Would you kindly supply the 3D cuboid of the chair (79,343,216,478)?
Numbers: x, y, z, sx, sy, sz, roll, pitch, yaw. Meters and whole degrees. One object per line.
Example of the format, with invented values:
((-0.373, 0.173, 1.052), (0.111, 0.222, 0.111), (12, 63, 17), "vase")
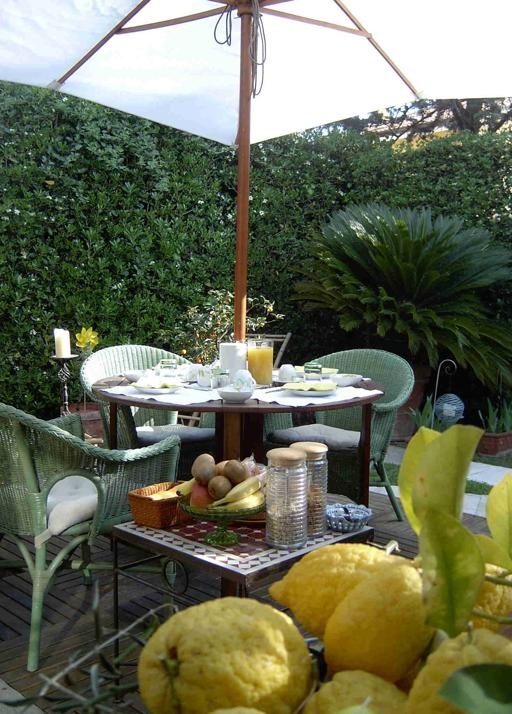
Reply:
((-0.508, 0.252, 3.076), (0.865, 0.868, 0.715), (-1, 0, -42), "chair")

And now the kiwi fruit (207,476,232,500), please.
((-0.071, 0.262, 1.068), (0.046, 0.047, 0.032), (-2, 11, -7), "kiwi fruit")

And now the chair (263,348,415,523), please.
((0.407, 0.381, 3.169), (0.966, 0.984, 0.857), (-2, 6, -43), "chair")

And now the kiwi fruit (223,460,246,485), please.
((-0.046, 0.242, 1.124), (0.052, 0.054, 0.047), (5, -22, -10), "kiwi fruit")

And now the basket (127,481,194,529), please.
((-0.202, 0.327, 1.201), (0.106, 0.053, 0.142), (5, 2, 35), "basket")

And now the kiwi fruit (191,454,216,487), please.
((-0.104, 0.230, 1.108), (0.062, 0.073, 0.059), (-1, -16, 5), "kiwi fruit")

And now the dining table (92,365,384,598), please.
((-0.013, 0.365, 2.261), (0.950, 0.688, 0.893), (3, 3, 42), "dining table")

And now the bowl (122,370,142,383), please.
((-0.524, 0.080, 2.300), (0.059, 0.029, 0.079), (-4, 9, -10), "bowl")

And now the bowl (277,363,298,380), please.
((0.144, 0.074, 2.511), (0.071, 0.066, 0.073), (0, -1, 0), "bowl")

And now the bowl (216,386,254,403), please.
((-0.072, 0.135, 1.899), (0.118, 0.056, 0.096), (0, 10, 1), "bowl")

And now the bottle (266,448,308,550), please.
((0.053, 0.255, 0.945), (0.073, 0.211, 0.103), (0, 11, 1), "bottle")
